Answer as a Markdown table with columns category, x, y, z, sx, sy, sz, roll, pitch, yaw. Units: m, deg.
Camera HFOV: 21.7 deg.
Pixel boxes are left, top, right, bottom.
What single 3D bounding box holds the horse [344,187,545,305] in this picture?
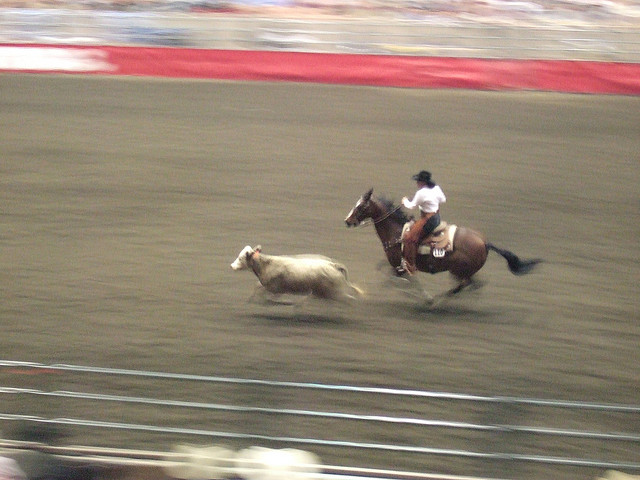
| category | x | y | z | sx | sy | sz | roll | pitch | yaw |
| --- | --- | --- | --- | --- | --- | --- | --- | --- | --- |
| horse | 2.040 | 0.176 | 27.934 | 3.589 | 1.766 | 0.766 | 5 | 6 | -12 |

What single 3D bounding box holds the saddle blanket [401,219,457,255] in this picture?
| category | x | y | z | sx | sy | sz | roll | pitch | yaw |
| --- | --- | --- | --- | --- | --- | --- | --- | --- | --- |
| saddle blanket | 1.799 | -0.028 | 27.680 | 0.896 | 0.495 | 0.418 | 6 | 23 | 5 |

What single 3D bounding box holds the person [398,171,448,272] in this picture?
| category | x | y | z | sx | sy | sz | roll | pitch | yaw |
| --- | --- | --- | --- | --- | --- | --- | --- | --- | --- |
| person | 1.640 | -0.279 | 27.625 | 0.581 | 1.660 | 0.646 | 20 | 28 | 31 |
